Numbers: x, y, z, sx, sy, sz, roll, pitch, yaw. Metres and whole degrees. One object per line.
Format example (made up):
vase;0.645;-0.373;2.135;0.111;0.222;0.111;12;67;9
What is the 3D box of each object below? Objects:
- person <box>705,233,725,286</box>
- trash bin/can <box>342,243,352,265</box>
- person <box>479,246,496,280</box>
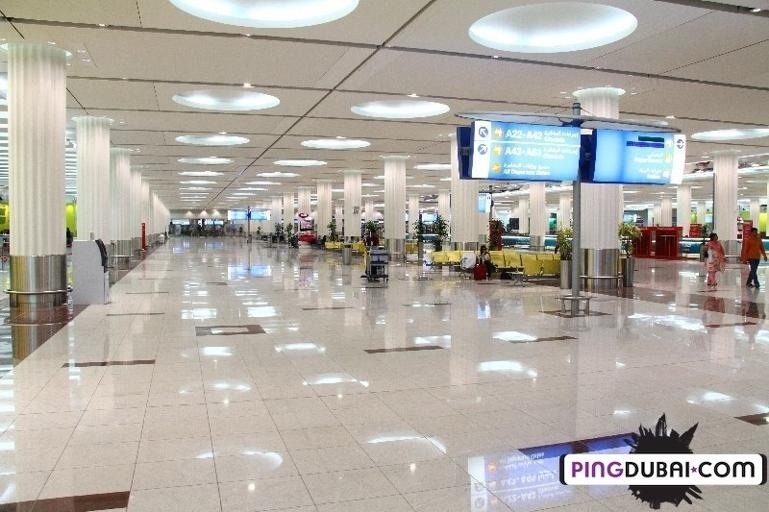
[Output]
person;11.116;0.093;17.704;0.495;1.727;1.206;2;5;33
trash bin/can;-1.975;-0.130;27.445;0.342;1.001;0.826;0;4;8
person;3.940;0.219;20.131;0.388;1.285;1.301;2;5;29
